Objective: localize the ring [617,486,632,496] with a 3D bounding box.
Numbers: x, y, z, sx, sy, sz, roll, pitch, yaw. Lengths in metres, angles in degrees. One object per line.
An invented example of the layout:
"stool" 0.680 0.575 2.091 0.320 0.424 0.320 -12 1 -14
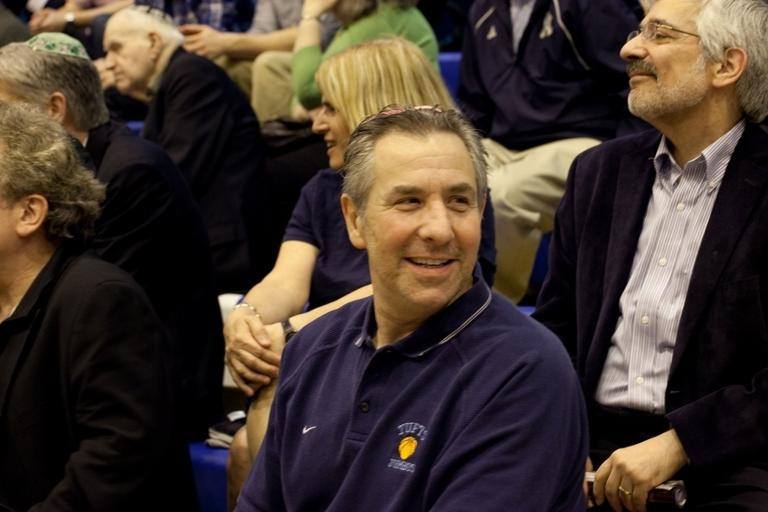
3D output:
"ring" 0.865 0.846 3.042 0.030 0.027 0.025 -2 4 20

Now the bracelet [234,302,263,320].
"bracelet" -0.598 0.241 3.738 0.086 0.025 0.092 39 -3 23

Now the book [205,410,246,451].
"book" -0.736 0.797 3.908 0.162 0.052 0.170 4 10 39
